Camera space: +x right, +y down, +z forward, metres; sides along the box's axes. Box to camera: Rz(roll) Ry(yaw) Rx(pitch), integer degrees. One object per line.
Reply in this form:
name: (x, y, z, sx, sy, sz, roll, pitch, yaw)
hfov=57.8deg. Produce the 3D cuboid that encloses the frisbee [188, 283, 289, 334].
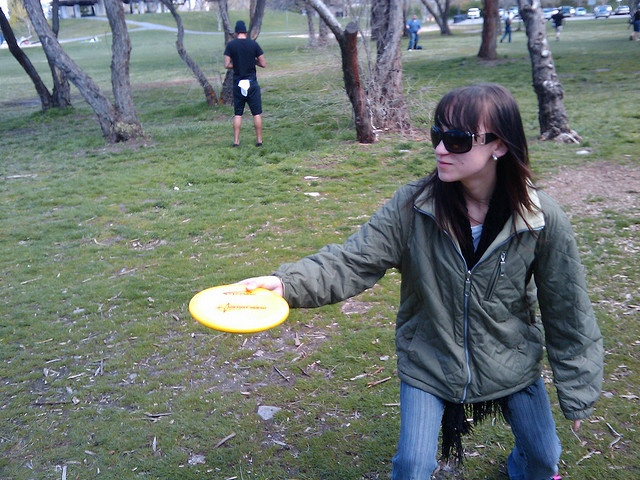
frisbee: (-0.458, 0.387, 3.472, 0.566, 0.067, 0.612, 9, 18, 4)

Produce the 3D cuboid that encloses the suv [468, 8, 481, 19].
suv: (20.768, -30.804, 78.299, 1.603, 1.255, 2.628, 0, 11, 15)

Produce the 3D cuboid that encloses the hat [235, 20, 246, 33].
hat: (-1.461, -3.990, 10.782, 0.190, 0.189, 0.284, -4, 22, -4)

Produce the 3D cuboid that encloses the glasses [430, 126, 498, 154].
glasses: (0.832, -0.585, 3.346, 0.244, 0.086, 0.211, -3, 12, -22)
